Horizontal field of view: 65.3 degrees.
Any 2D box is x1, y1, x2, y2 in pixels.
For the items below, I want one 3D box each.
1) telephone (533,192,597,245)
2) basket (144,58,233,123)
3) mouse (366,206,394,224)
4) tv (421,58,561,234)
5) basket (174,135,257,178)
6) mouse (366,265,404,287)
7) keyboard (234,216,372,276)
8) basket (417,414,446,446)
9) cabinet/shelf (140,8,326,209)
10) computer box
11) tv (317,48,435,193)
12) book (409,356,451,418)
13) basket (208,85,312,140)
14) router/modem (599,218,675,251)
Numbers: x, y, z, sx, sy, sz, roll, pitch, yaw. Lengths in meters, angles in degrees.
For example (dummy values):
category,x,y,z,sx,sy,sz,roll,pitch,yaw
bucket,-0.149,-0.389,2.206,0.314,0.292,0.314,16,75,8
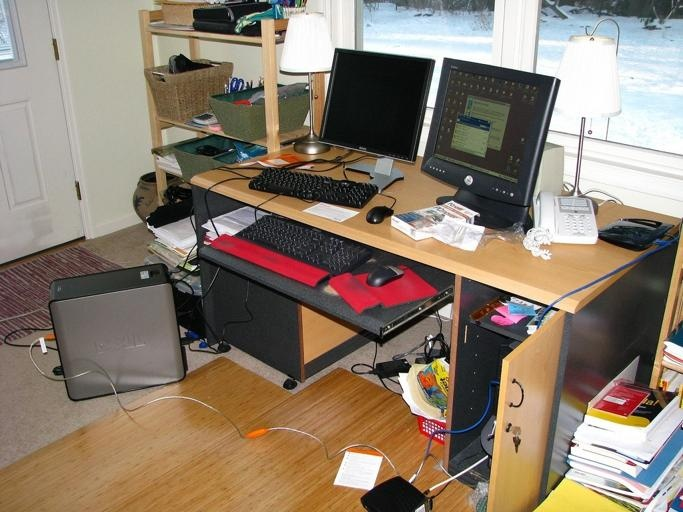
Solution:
category,x,y,z,sx,sy,sz,roll,pitch,yaw
telephone,0.772,-0.128,1.828,0.173,0.079,0.225,3,33,12
basket,-0.882,-1.064,3.372,0.376,0.327,0.529,22,34,38
mouse,0.136,-0.154,1.961,0.055,0.031,0.093,21,39,32
tv,0.531,-0.378,1.913,0.321,0.548,0.517,-28,43,-35
basket,-0.756,-0.637,3.243,0.384,0.206,0.520,-4,-11,-40
mouse,0.145,0.069,1.836,0.114,0.038,0.065,-23,40,-31
keyboard,-0.140,-0.044,2.024,0.558,0.093,0.198,21,48,31
basket,0.338,0.658,2.024,0.114,0.074,0.077,16,28,36
cabinet/shelf,-0.564,-0.810,2.856,1.116,1.220,0.441,21,39,28
computer box,-0.949,0.322,2.614,0.643,0.601,0.594,-9,22,-13
tv,0.129,-0.592,2.292,0.291,0.512,0.547,-27,38,-37
book,0.340,0.513,2.075,0.190,0.059,0.183,28,55,14
basket,-0.455,-0.812,3.037,0.412,0.220,0.542,0,11,33
router/modem,1.009,-0.081,1.811,0.193,0.041,0.140,-17,27,-37
